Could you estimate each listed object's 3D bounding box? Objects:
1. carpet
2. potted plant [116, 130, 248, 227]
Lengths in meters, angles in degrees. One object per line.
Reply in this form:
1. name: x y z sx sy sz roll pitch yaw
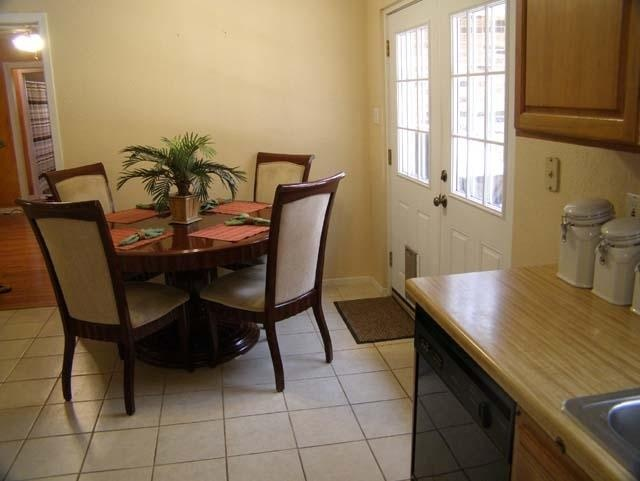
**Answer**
1. carpet: 0.431 0.595 3.676 0.519 0.056 0.743 -7 20 -9
2. potted plant: -0.955 -0.407 3.199 0.607 0.572 0.907 -6 15 -23
